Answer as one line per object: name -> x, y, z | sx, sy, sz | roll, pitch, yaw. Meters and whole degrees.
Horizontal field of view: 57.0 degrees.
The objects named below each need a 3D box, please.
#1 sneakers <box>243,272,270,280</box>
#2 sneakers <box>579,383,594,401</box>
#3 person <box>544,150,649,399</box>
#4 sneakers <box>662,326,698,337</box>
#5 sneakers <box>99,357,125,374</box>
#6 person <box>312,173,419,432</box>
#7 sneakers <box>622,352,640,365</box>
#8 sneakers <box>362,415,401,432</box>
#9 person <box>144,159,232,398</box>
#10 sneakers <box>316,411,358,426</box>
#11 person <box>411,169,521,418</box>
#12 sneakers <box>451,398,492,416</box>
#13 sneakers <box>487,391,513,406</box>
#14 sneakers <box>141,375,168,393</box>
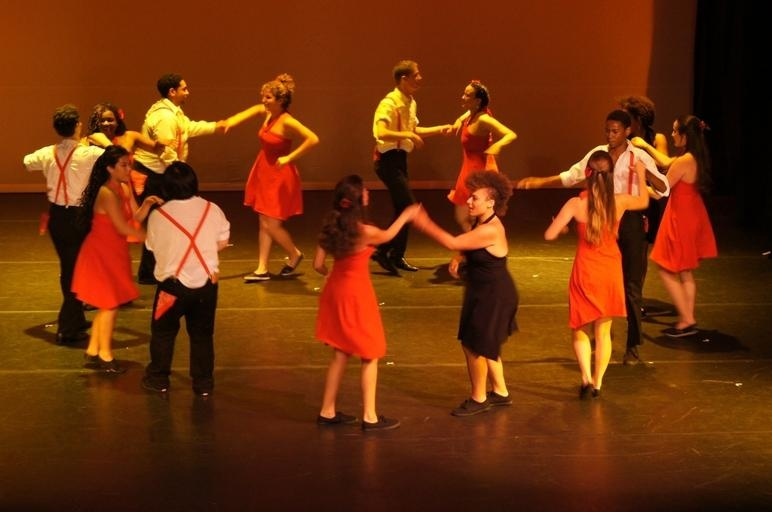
sneakers -> -1.436, 0.220, 7.866 | 0.290, 0.100, 0.101 | 1, -3, -28
sneakers -> 1.472, 1.000, 5.216 | 0.061, 0.061, 0.149 | -2, 18, 9
person -> 1.579, 0.118, 5.286 | 0.670, 1.803, 0.882 | 2, 5, 19
sneakers -> 2.643, 0.684, 6.400 | 0.314, 0.077, 0.118 | -1, 8, -4
sneakers -> -2.168, 0.865, 5.605 | 0.224, 0.081, 0.106 | 6, 8, -3
person -> -0.182, 0.320, 4.785 | 0.599, 1.699, 0.285 | 0, 4, -4
sneakers -> 2.024, 0.845, 5.851 | 0.110, 0.112, 0.125 | -2, 5, 6
sneakers -> -0.039, 1.138, 4.831 | 0.205, 0.067, 0.102 | -2, 1, -9
person -> -1.467, 0.181, 5.164 | 0.613, 1.706, 0.435 | 1, 5, 6
sneakers -> -0.340, 1.129, 4.932 | 0.253, 0.083, 0.095 | -1, 1, -4
person -> 0.621, 0.260, 5.052 | 0.614, 1.716, 0.700 | 1, 5, 9
sneakers -> 0.602, 1.077, 5.074 | 0.283, 0.107, 0.109 | 0, 1, -5
sneakers -> 0.822, 1.039, 5.171 | 0.205, 0.085, 0.076 | 4, 9, 10
sneakers -> -1.717, 0.947, 5.297 | 0.201, 0.089, 0.082 | 14, 7, 5
